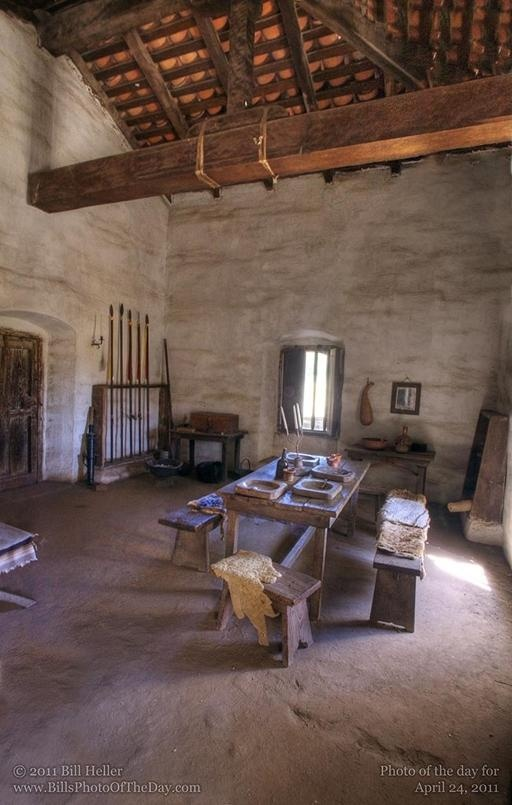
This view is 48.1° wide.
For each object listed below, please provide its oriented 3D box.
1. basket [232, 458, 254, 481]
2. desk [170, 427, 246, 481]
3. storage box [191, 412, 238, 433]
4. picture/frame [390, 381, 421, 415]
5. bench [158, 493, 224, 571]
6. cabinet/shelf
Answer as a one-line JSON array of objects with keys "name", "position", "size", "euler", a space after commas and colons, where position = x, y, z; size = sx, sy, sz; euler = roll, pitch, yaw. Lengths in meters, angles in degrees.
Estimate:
[{"name": "basket", "position": [-0.168, 0.839, 7.156], "size": [0.220, 0.323, 0.316], "euler": [1, -8, 0]}, {"name": "desk", "position": [-0.619, 0.618, 7.277], "size": [0.840, 0.576, 0.549], "euler": [4, 9, 15]}, {"name": "storage box", "position": [-0.545, 0.238, 7.165], "size": [0.632, 0.228, 0.415], "euler": [6, 11, 22]}, {"name": "picture/frame", "position": [1.672, -0.052, 6.330], "size": [0.343, 0.420, 0.045], "euler": [4, 4, 23]}, {"name": "bench", "position": [-0.497, 1.030, 4.452], "size": [0.253, 0.320, 0.650], "euler": [1, 2, 13]}, {"name": "cabinet/shelf", "position": [2.107, 0.695, 5.237], "size": [0.339, 1.071, 1.145], "euler": [0, 3, 16]}]
